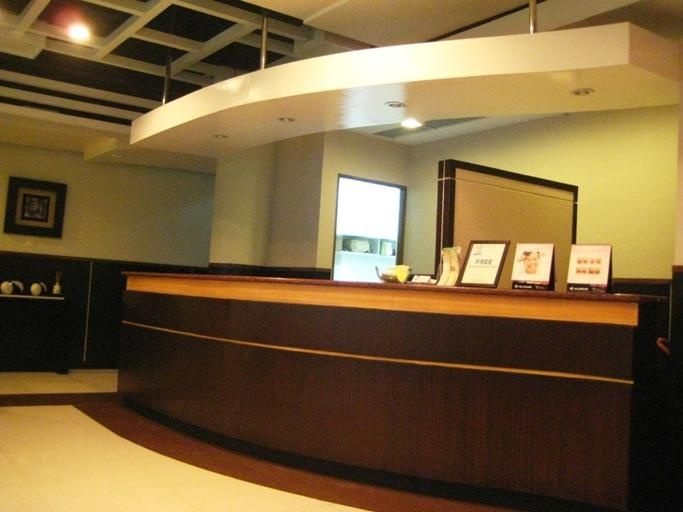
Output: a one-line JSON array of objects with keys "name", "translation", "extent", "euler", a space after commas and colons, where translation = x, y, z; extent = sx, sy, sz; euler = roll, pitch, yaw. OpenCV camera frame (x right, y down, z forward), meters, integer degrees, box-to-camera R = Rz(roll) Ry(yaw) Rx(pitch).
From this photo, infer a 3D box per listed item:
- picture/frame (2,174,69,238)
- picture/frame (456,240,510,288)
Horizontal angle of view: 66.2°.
[{"name": "picture/frame", "translation": [-4.696, -0.757, 7.951], "extent": [0.947, 1.092, 0.085], "euler": [3, 0, -30]}, {"name": "picture/frame", "translation": [0.940, 0.041, 3.559], "extent": [0.338, 0.383, 0.041], "euler": [16, -12, 45]}]
